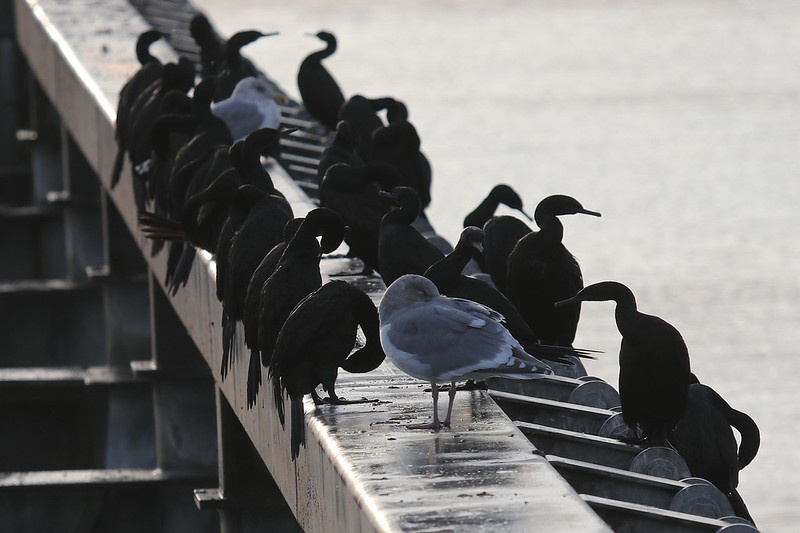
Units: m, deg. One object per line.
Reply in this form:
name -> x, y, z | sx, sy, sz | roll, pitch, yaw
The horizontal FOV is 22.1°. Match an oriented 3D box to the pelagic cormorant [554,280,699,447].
pelagic cormorant -> 3.630, 1.448, 30.318 | 1.315, 2.463, 0.364 | -5, 13, 7
